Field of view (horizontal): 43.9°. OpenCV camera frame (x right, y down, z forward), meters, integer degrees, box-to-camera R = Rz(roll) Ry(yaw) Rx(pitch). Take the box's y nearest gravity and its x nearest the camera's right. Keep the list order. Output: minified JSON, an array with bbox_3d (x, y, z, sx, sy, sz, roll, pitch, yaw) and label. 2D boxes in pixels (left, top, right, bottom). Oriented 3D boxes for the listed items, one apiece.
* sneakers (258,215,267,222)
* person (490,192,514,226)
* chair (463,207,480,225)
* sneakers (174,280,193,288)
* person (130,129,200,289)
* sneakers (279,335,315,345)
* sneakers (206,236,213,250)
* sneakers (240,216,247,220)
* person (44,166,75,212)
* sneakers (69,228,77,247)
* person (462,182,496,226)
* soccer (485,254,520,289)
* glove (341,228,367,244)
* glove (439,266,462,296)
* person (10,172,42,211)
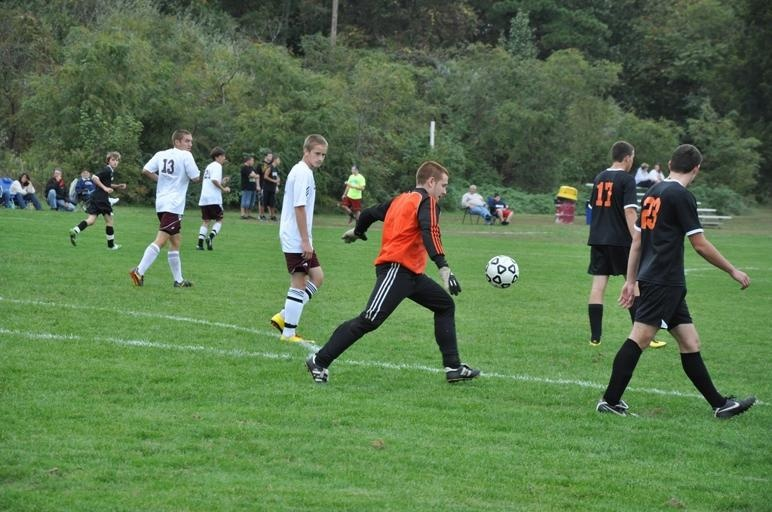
[{"bbox_3d":[-4.533,-1.352,34.817,0.264,0.286,0.689,-1,-3,-4],"label":"sneakers"},{"bbox_3d":[4.687,-1.799,38.855,0.851,1.088,1.313,4,5,17],"label":"person"},{"bbox_3d":[3.698,-1.649,40.119,0.805,1.211,0.756,-1,5,0],"label":"chair"},{"bbox_3d":[-4.258,0.577,20.039,0.399,0.178,0.140,-2,7,-11],"label":"sneakers"},{"bbox_3d":[-4.575,-1.001,20.043,1.190,3.258,0.769,1,5,-13],"label":"person"},{"bbox_3d":[-1.598,1.504,17.355,0.660,0.264,0.220,1,3,-2],"label":"sneakers"},{"bbox_3d":[-4.605,-0.325,24.791,0.167,0.437,0.209,7,20,22],"label":"sneakers"},{"bbox_3d":[-5.174,-1.388,34.764,0.222,0.129,0.268,2,5,-8],"label":"sneakers"},{"bbox_3d":[-11.703,-2.303,33.838,0.993,1.519,1.089,-2,-2,18],"label":"person"},{"bbox_3d":[-7.815,-0.441,23.774,0.152,0.434,0.204,3,26,10],"label":"sneakers"},{"bbox_3d":[3.867,-2.081,38.917,1.058,1.245,2.174,-1,11,-27],"label":"person"},{"bbox_3d":[2.066,0.293,16.793,0.521,0.542,0.347,4,5,18],"label":"soccer"},{"bbox_3d":[-0.563,-0.326,16.592,0.346,0.138,0.290,-1,-12,35],"label":"glove"},{"bbox_3d":[1.021,0.452,15.547,0.317,0.503,0.178,-41,10,-35],"label":"glove"},{"bbox_3d":[-12.816,-2.291,33.707,1.433,1.234,0.847,14,12,43],"label":"person"}]
